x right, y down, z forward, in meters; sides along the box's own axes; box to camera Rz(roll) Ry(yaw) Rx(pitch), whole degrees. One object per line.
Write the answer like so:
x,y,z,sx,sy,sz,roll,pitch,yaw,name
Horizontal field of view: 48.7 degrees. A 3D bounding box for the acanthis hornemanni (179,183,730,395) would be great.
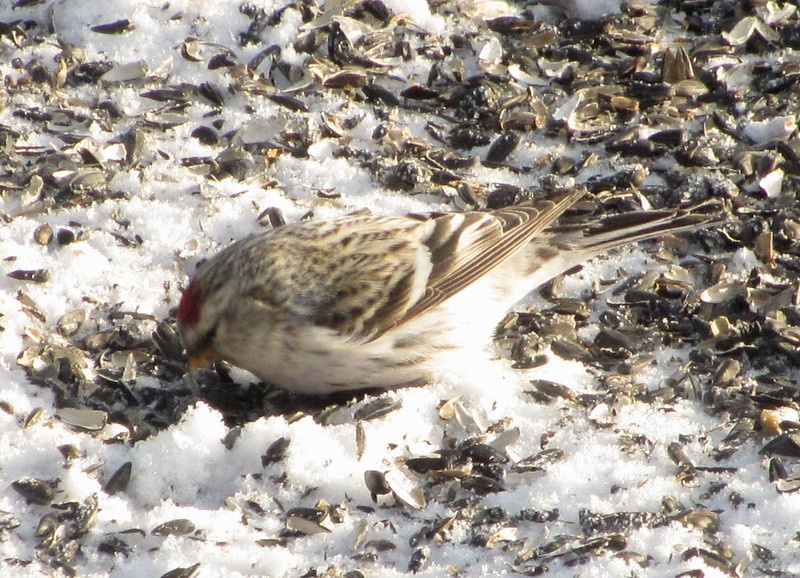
0.045,0.040,5.598,2.824,0.581,1.079,-13,59,-11,acanthis hornemanni
